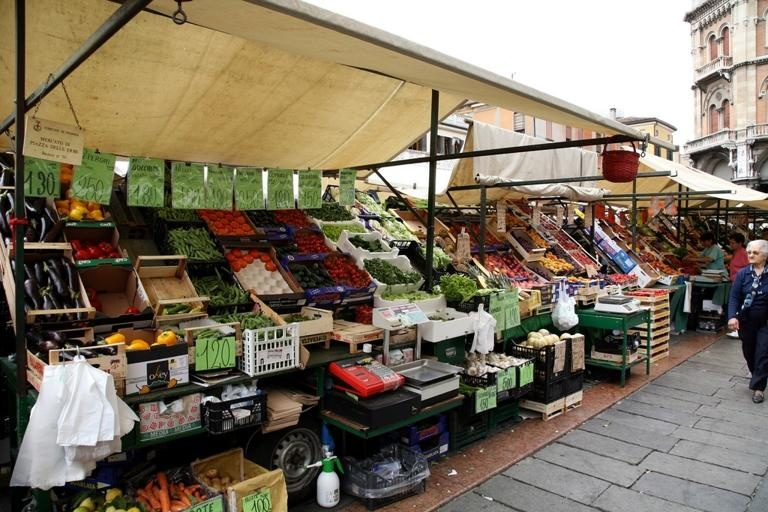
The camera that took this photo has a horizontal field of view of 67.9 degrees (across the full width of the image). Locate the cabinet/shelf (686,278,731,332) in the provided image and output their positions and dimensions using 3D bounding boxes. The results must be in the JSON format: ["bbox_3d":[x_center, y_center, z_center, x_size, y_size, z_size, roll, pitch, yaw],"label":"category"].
[{"bbox_3d":[7.709,1.104,14.205,1.257,1.300,1.360,6,8,42],"label":"cabinet/shelf"}]

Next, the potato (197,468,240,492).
[{"bbox_3d":[-1.601,2.172,5.515,0.256,0.078,0.212,9,7,34],"label":"potato"}]

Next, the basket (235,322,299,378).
[{"bbox_3d":[-1.234,0.935,5.887,0.634,0.442,0.493,2,-5,-40],"label":"basket"}]

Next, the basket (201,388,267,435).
[{"bbox_3d":[-1.458,1.470,5.503,0.505,0.368,0.406,1,6,-29],"label":"basket"}]

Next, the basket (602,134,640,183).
[{"bbox_3d":[2.596,-1.037,6.375,0.558,0.605,0.549,2,-6,9],"label":"basket"}]

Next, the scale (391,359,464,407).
[{"bbox_3d":[0.474,1.434,6.490,0.755,0.291,0.477,-9,5,-40],"label":"scale"}]

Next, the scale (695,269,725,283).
[{"bbox_3d":[7.791,0.513,13.671,0.470,0.139,0.454,1,1,14],"label":"scale"}]

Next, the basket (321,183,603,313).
[{"bbox_3d":[1.201,-0.099,8.826,3.912,1.261,2.083,2,17,-42],"label":"basket"}]

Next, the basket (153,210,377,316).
[{"bbox_3d":[-1.426,0.010,6.792,1.685,0.493,1.744,-7,41,-48],"label":"basket"}]

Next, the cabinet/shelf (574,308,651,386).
[{"bbox_3d":[3.950,1.497,9.753,1.110,1.057,1.368,3,3,36],"label":"cabinet/shelf"}]
